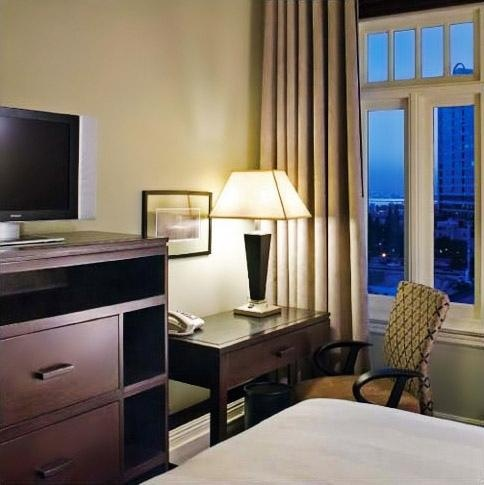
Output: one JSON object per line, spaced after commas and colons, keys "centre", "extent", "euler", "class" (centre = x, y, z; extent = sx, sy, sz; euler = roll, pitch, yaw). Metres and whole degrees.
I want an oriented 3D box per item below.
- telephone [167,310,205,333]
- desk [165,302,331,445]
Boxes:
{"centre": [-0.300, 0.409, 2.356], "extent": [0.130, 0.056, 0.127], "euler": [8, 1, 28], "class": "telephone"}
{"centre": [0.090, 0.740, 2.624], "extent": [1.012, 0.582, 0.464], "euler": [-4, 4, -44], "class": "desk"}
